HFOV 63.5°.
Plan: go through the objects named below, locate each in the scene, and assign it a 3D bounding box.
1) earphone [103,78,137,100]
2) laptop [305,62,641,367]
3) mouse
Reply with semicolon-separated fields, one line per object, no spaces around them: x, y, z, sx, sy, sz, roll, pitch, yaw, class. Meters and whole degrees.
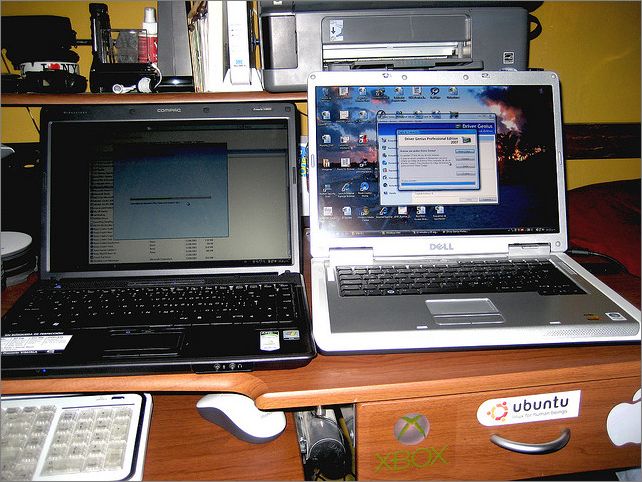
-0.505;-0.385;1.300;0.064;0.023;0.043;-11;37;-28;earphone
0.275;0.029;1.216;0.694;0.477;0.582;-2;40;-2;laptop
-0.154;0.335;1.007;0.159;0.049;0.093;16;13;23;mouse
